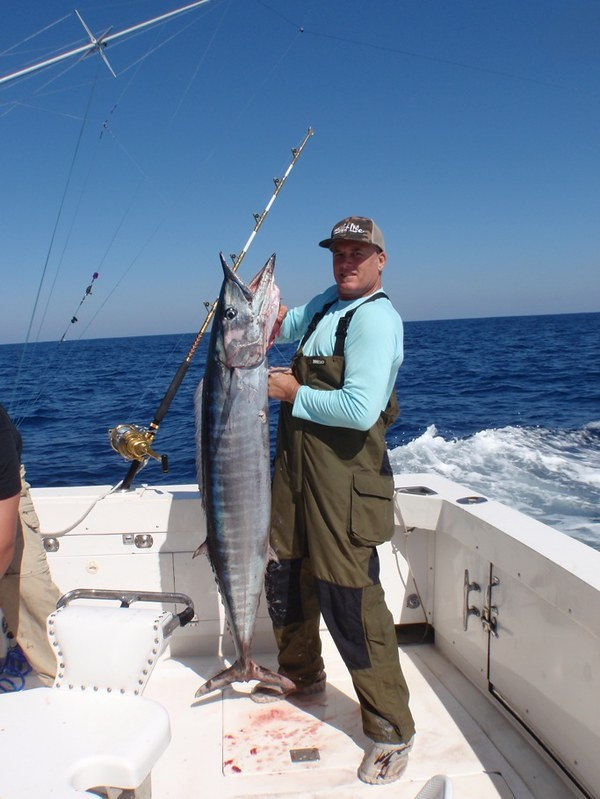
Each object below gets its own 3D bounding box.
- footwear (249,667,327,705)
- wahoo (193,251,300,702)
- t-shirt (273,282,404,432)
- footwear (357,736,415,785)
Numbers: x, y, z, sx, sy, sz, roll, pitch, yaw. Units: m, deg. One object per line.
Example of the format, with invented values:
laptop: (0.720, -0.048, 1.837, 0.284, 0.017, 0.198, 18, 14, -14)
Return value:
footwear: (-0.045, 1.247, 2.968, 0.281, 0.060, 0.160, -1, -6, 0)
wahoo: (-0.212, 0.235, 2.579, 0.431, 1.622, 0.455, -3, 7, -19)
t-shirt: (0.144, -0.145, 2.506, 0.286, 0.386, 0.520, 10, 16, -18)
footwear: (0.317, 1.334, 2.522, 0.220, 0.098, 0.099, 6, -9, -43)
